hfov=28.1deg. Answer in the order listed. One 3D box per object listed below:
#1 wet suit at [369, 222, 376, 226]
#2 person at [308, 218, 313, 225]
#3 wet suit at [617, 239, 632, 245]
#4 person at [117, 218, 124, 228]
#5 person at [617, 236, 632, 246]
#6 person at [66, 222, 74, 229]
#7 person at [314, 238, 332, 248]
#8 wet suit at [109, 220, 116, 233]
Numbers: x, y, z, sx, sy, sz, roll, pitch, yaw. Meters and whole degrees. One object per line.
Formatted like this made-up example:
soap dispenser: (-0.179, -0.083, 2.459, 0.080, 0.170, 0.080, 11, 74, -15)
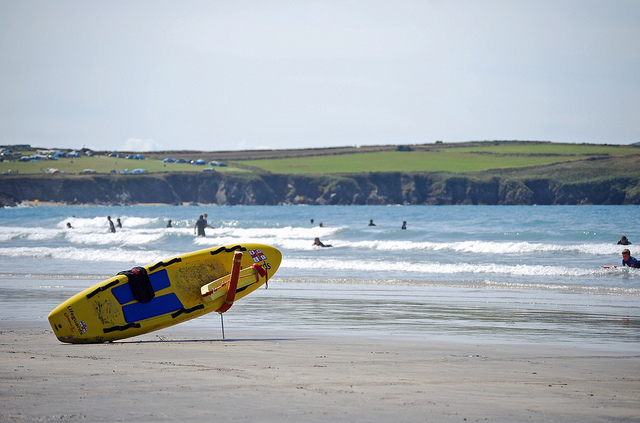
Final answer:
wet suit: (5.936, 1.489, 144.174, 0.543, 0.409, 0.999, -2, 12, -8)
person: (-1.063, 1.302, 152.314, 0.445, 0.506, 1.022, 13, -15, -15)
wet suit: (30.262, 3.177, 126.448, 1.236, 0.668, 1.364, 2, 12, 11)
person: (-23.409, 1.477, 149.396, 0.378, 0.364, 1.131, -31, 27, -16)
person: (30.734, 3.047, 128.343, 0.813, 1.385, 0.586, 7, 11, 36)
person: (-28.444, 1.763, 144.854, 1.004, 0.513, 1.552, -8, 14, -11)
person: (0.204, 3.319, 132.060, 1.688, 0.871, 1.208, 10, 16, 41)
wet suit: (-23.418, 1.773, 143.416, 0.443, 1.453, 0.337, -4, 24, 37)
